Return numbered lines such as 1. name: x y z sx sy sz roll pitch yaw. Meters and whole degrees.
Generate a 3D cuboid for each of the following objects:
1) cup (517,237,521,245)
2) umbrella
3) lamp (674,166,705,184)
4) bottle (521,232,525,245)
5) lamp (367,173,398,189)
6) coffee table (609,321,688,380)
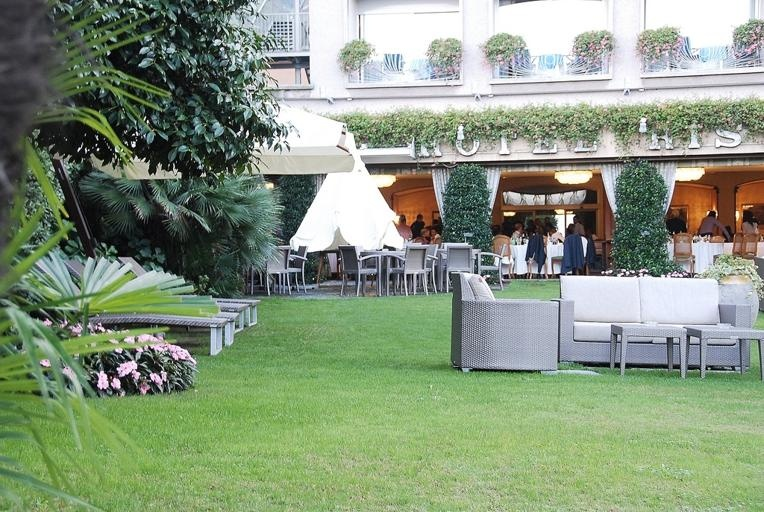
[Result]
1. cup: 3.452 -0.358 19.649 0.104 0.122 0.118 -2 37 5
2. umbrella: -0.715 -1.199 15.799 1.855 2.154 1.849 -2 -7 -1
3. lamp: 7.518 -1.997 19.060 0.792 0.360 0.821 0 0 -18
4. bottle: 3.605 -0.454 19.816 0.093 0.406 0.157 -1 -13 6
5. lamp: -0.013 -1.925 19.791 0.666 0.335 0.723 -2 3 9
6. coffee table: 2.541 0.867 7.527 0.524 0.449 0.534 1 -4 35
